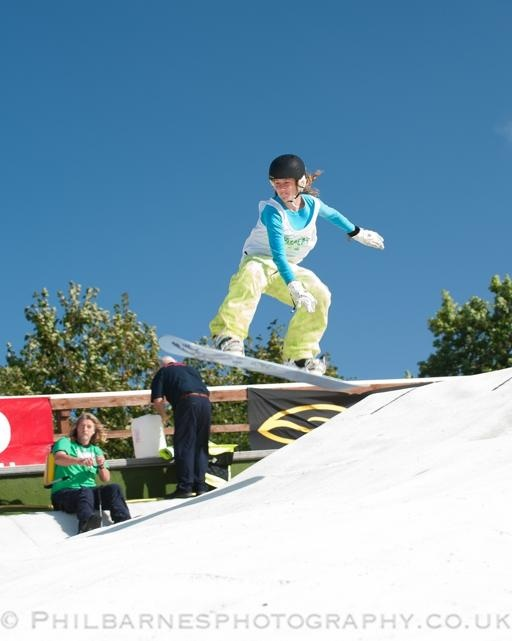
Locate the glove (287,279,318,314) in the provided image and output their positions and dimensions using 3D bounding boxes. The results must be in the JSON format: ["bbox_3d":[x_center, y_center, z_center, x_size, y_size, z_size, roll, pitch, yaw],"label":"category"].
[{"bbox_3d":[0.252,-0.131,5.176,0.144,0.191,0.088,-41,12,-35],"label":"glove"}]

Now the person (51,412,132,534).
[{"bbox_3d":[-1.067,0.897,5.494,0.449,0.596,0.829,-8,-2,-14],"label":"person"}]

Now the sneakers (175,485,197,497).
[{"bbox_3d":[-0.454,1.089,5.771,0.154,0.066,0.115,-6,-2,-19],"label":"sneakers"}]

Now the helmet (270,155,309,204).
[{"bbox_3d":[0.203,-0.837,5.501,0.218,0.297,0.272,-8,-2,4],"label":"helmet"}]

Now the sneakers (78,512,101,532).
[{"bbox_3d":[-0.965,1.149,5.151,0.137,0.094,0.185,-6,-2,-12],"label":"sneakers"}]
